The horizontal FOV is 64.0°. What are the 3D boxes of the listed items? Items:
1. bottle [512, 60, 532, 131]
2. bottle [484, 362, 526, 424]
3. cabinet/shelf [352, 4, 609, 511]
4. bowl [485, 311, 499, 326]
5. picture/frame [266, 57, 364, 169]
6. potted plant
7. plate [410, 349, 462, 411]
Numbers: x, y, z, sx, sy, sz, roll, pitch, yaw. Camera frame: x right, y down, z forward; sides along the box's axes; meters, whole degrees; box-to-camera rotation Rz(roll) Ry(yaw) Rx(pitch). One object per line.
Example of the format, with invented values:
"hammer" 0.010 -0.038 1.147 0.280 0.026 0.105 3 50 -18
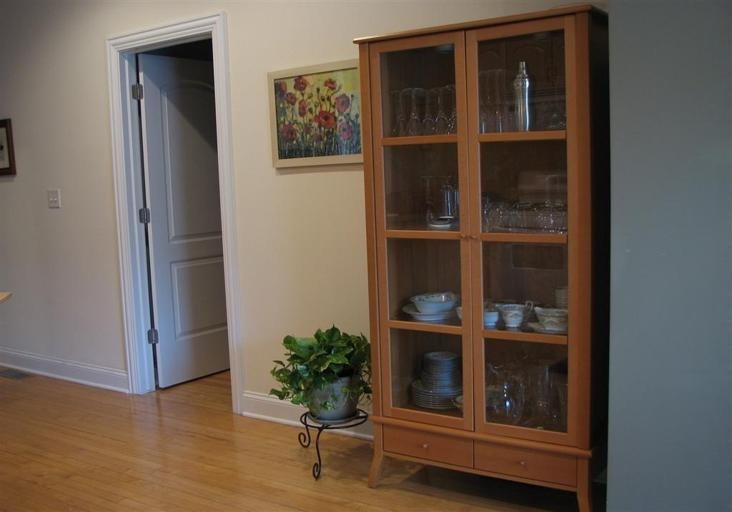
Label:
"bottle" 0.710 -0.726 2.672 0.076 0.314 0.040 0 10 13
"bottle" 0.664 0.680 2.823 0.193 0.276 0.090 0 -1 30
"cabinet/shelf" 0.498 -0.094 2.801 1.150 2.000 0.357 5 11 34
"bowl" 0.602 0.317 2.821 0.067 0.056 0.068 1 7 0
"picture/frame" -0.291 -0.882 3.563 0.733 0.638 0.029 3 10 32
"potted plant" -0.227 0.671 3.446 0.526 0.396 0.535 1 -4 3
"plate" 0.359 0.653 2.964 0.272 0.222 0.279 1 5 3
